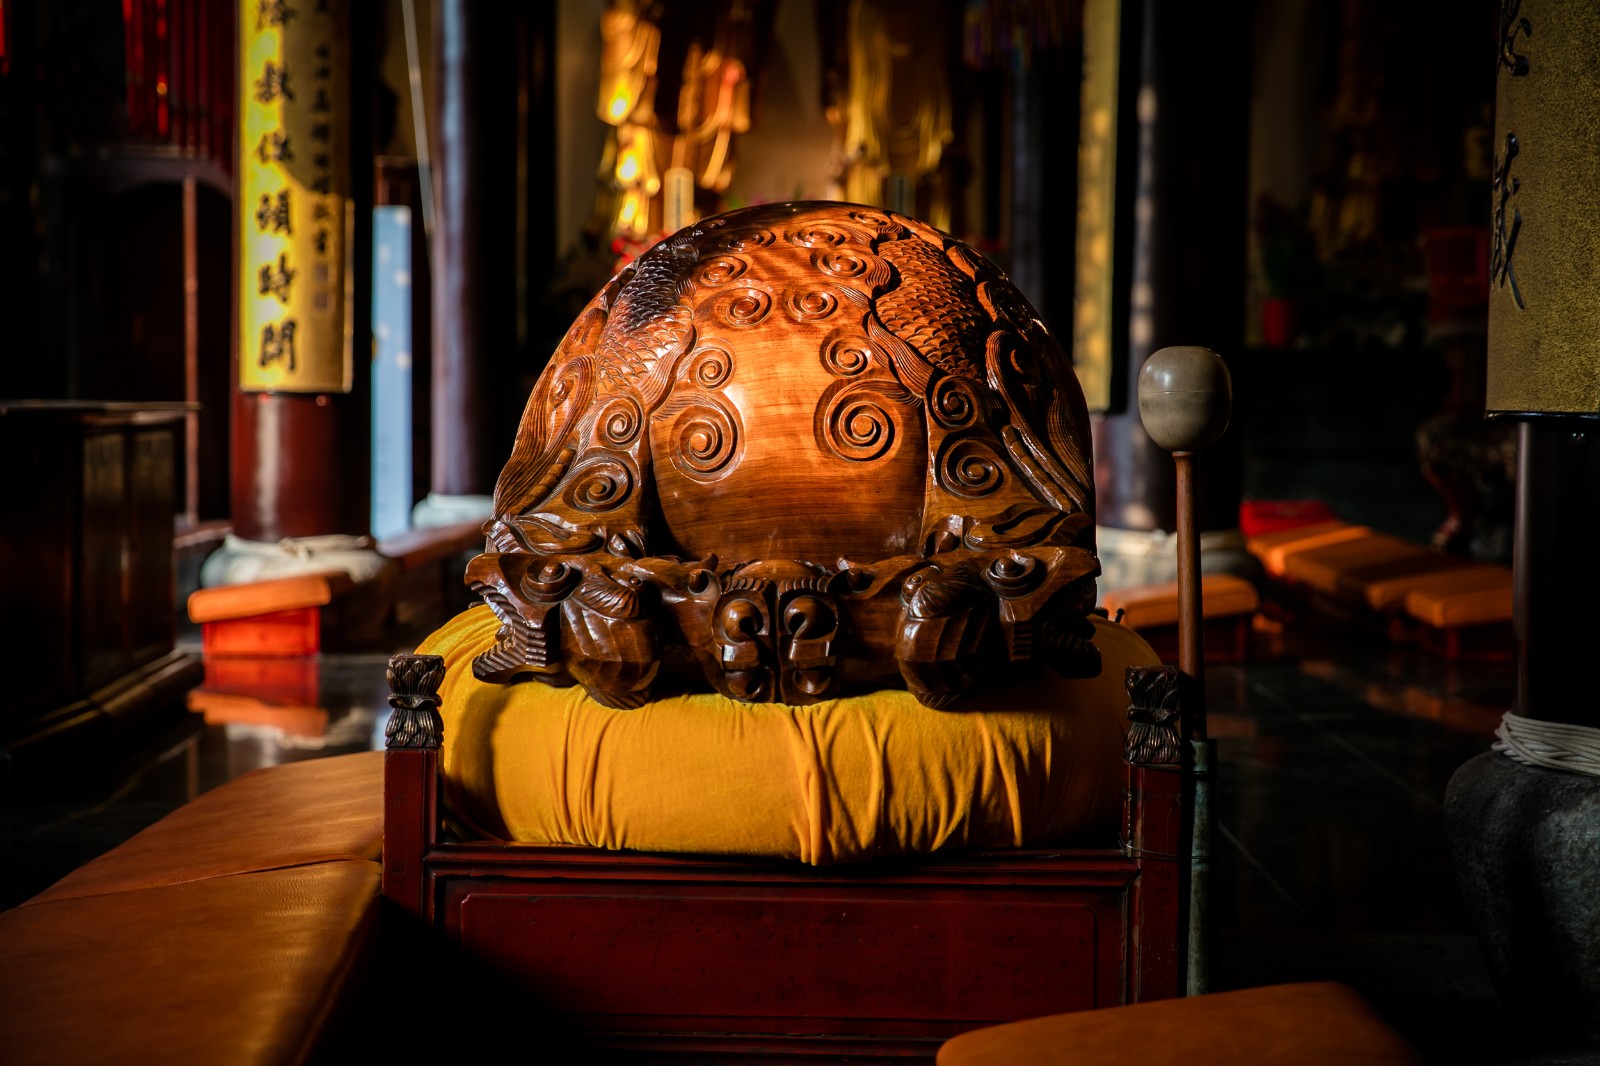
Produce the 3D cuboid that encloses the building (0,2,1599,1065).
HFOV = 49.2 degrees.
[{"bbox_3d":[-0.369,0.240,5.527,3.115,2.244,3.381,-1,2,-3],"label":"building"}]

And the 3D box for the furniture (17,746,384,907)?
[{"bbox_3d":[-1.606,0.868,5.107,0.469,0.193,0.729,-2,8,4],"label":"furniture"}]

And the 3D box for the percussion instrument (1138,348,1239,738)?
[{"bbox_3d":[1.075,-0.015,4.868,0.216,0.984,0.231,1,13,26],"label":"percussion instrument"}]
